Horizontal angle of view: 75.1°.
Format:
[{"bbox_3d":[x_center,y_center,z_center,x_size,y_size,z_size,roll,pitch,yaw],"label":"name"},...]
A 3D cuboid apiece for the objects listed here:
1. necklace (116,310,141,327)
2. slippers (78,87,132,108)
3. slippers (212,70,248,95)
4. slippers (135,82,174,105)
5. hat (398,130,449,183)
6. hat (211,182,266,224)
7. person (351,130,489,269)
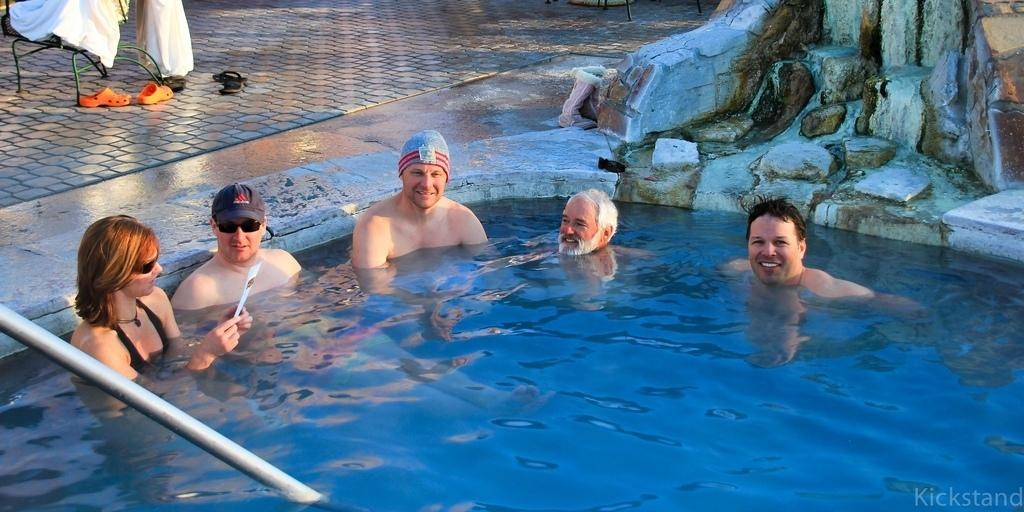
[{"bbox_3d":[-3.390,0.578,5.922,0.177,0.030,0.131,-7,36,-3],"label":"necklace"},{"bbox_3d":[-6.428,-2.520,10.601,0.788,0.216,0.373,-4,17,-21],"label":"slippers"},{"bbox_3d":[-4.848,-2.972,11.388,0.395,0.203,0.879,-19,30,-30],"label":"slippers"},{"bbox_3d":[-5.811,-2.620,10.770,0.421,0.223,0.560,-3,23,8],"label":"slippers"},{"bbox_3d":[-0.970,-1.132,7.354,0.670,0.433,0.588,0,12,-24],"label":"hat"},{"bbox_3d":[-2.687,-0.512,6.547,0.443,0.225,0.495,0,3,-17],"label":"hat"},{"bbox_3d":[-1.067,-0.593,7.734,2.214,1.350,1.019,-9,39,-19],"label":"person"}]
